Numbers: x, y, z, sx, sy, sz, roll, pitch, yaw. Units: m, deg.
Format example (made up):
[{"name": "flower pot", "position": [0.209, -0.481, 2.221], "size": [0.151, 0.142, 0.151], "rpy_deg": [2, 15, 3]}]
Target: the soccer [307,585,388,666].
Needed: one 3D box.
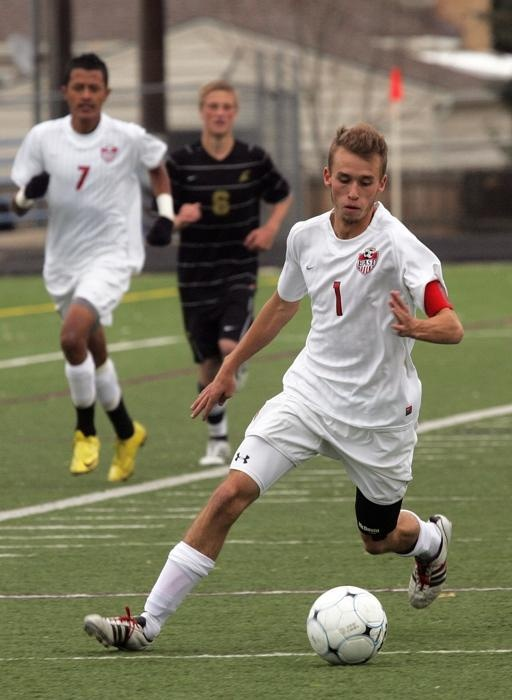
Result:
[{"name": "soccer", "position": [0.237, 0.727, 2.226], "size": [0.200, 0.172, 0.146], "rpy_deg": [-2, 2, -2]}]

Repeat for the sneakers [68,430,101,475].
[{"name": "sneakers", "position": [-0.724, 0.439, 3.660], "size": [0.123, 0.085, 0.213], "rpy_deg": [0, 31, 5]}]

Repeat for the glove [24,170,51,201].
[{"name": "glove", "position": [-0.952, -0.715, 3.695], "size": [0.135, 0.108, 0.034], "rpy_deg": [-5, 32, -46]}]

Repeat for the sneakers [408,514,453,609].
[{"name": "sneakers", "position": [0.560, 0.662, 2.715], "size": [0.125, 0.292, 0.144], "rpy_deg": [17, -5, 23]}]

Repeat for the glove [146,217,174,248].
[{"name": "glove", "position": [-0.432, -0.545, 3.986], "size": [0.112, 0.136, 0.160], "rpy_deg": [18, 0, -14]}]

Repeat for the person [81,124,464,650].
[{"name": "person", "position": [0.142, 0.205, 2.495], "size": [0.922, 1.245, 0.851], "rpy_deg": [-2, 2, 11]}]
